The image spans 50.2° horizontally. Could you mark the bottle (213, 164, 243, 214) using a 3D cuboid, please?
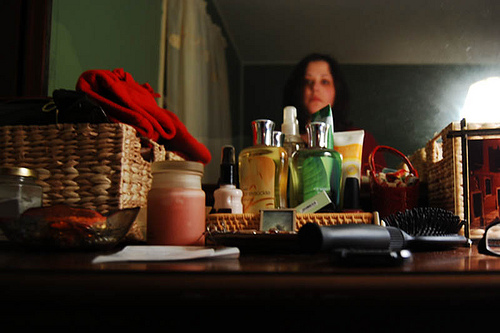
[{"bbox_3d":[-0.043,0.043,1.021,0.057,0.095,0.067,-1,-1,11],"label":"bottle"}]

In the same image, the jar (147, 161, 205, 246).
[{"bbox_3d":[-0.128,0.067,0.938,0.115,0.138,0.145,-3,-6,24],"label":"jar"}]

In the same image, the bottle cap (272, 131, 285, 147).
[{"bbox_3d":[0.062,-0.052,1.103,0.028,0.043,0.039,-1,-5,16],"label":"bottle cap"}]

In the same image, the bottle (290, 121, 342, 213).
[{"bbox_3d":[0.137,0.009,1.106,0.106,0.184,0.111,1,-1,0],"label":"bottle"}]

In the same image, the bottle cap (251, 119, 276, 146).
[{"bbox_3d":[0.027,-0.069,1.079,0.055,0.060,0.047,0,-20,0],"label":"bottle cap"}]

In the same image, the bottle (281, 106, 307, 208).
[{"bbox_3d":[0.091,-0.024,1.152,0.054,0.206,0.060,0,0,2],"label":"bottle"}]

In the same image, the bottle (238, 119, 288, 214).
[{"bbox_3d":[0.027,0.012,1.086,0.107,0.205,0.062,-1,-1,21],"label":"bottle"}]

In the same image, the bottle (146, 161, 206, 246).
[{"bbox_3d":[-0.124,0.069,0.921,0.139,0.189,0.136,1,-6,0],"label":"bottle"}]

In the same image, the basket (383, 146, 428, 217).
[{"bbox_3d":[0.313,0.034,1.218,0.103,0.154,0.168,-1,-5,14],"label":"basket"}]

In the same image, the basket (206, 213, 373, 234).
[{"bbox_3d":[0.057,0.094,1.000,0.304,0.052,0.155,2,-5,-31],"label":"basket"}]

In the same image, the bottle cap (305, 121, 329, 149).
[{"bbox_3d":[0.140,-0.060,1.097,0.053,0.053,0.050,-1,-17,19],"label":"bottle cap"}]
